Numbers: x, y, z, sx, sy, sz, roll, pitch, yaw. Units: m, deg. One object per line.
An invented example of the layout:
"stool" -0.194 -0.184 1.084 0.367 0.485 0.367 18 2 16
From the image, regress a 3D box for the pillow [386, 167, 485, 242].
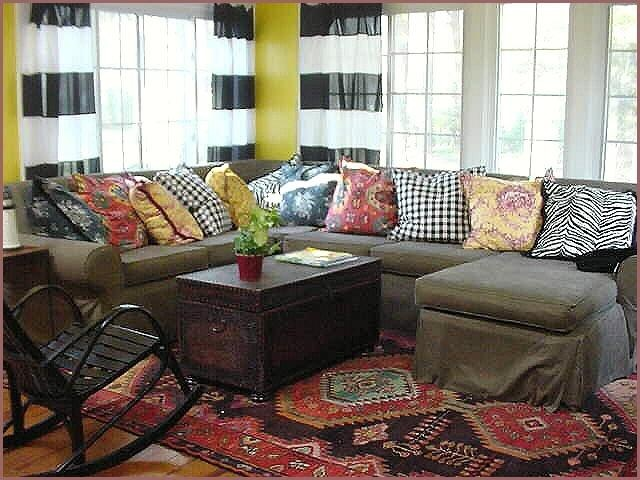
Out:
"pillow" 0.872 -0.241 3.635 0.594 0.507 0.194 1 -15 15

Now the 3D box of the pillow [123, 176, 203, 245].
"pillow" -1.123 -0.184 3.494 0.196 0.514 0.419 -18 19 43

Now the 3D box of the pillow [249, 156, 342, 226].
"pillow" -0.223 -0.413 4.438 0.748 0.650 0.275 2 -10 40
